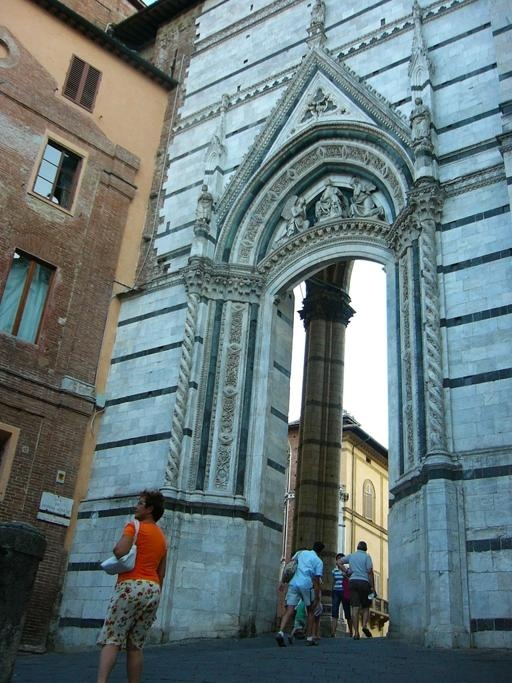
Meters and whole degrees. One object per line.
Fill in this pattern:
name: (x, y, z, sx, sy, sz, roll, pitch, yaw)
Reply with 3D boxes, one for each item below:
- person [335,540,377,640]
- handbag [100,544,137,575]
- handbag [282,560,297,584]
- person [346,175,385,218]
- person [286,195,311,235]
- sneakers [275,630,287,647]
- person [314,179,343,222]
person: (1.469, 3.592, 8.024, 0.467, 1.292, 0.960, 3, -21, 9)
handbag: (-0.708, 1.093, 2.782, 0.165, 0.153, 0.214, -3, -22, 22)
handbag: (0.452, 3.113, 7.475, 0.124, 0.307, 0.224, 19, -25, -5)
person: (2.308, -2.996, 11.447, 0.671, 1.118, 0.385, -4, -53, 13)
person: (0.945, -2.876, 12.549, 0.607, 1.089, 0.232, -4, -24, 24)
sneakers: (0.311, 3.630, 6.748, 0.116, 0.196, 0.333, 4, -21, 5)
person: (1.588, -3.095, 12.118, 0.608, 1.042, 0.318, -16, -26, 31)
